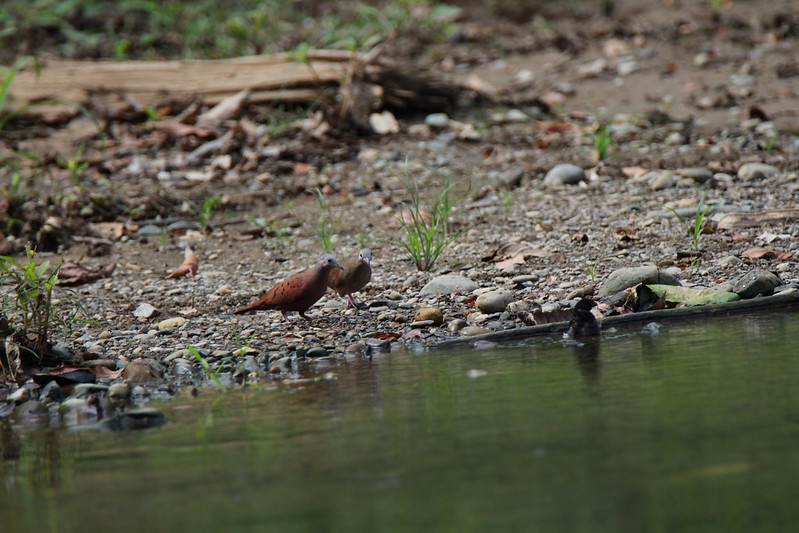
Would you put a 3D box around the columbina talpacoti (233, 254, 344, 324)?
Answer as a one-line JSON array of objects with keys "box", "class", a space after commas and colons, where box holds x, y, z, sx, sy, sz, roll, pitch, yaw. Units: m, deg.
[{"box": [-0.815, 0.153, 7.031, 0.739, 0.413, 0.188, -8, -4, 19], "class": "columbina talpacoti"}]

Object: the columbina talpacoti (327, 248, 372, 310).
[{"box": [-0.381, 0.080, 7.367, 0.351, 0.413, 0.563, -1, 6, -29], "class": "columbina talpacoti"}]
